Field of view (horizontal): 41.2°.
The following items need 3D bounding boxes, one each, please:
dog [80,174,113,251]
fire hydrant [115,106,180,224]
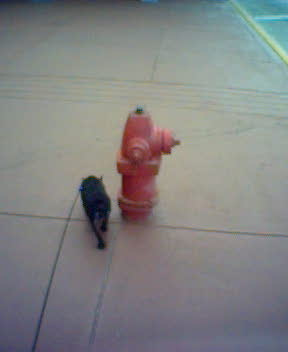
[{"bbox_3d":[-0.355,0.246,2.910,0.201,0.399,0.547,-8,40,-9],"label":"dog"},{"bbox_3d":[-0.011,-0.066,2.937,0.533,0.809,0.409,-14,29,-30],"label":"fire hydrant"}]
